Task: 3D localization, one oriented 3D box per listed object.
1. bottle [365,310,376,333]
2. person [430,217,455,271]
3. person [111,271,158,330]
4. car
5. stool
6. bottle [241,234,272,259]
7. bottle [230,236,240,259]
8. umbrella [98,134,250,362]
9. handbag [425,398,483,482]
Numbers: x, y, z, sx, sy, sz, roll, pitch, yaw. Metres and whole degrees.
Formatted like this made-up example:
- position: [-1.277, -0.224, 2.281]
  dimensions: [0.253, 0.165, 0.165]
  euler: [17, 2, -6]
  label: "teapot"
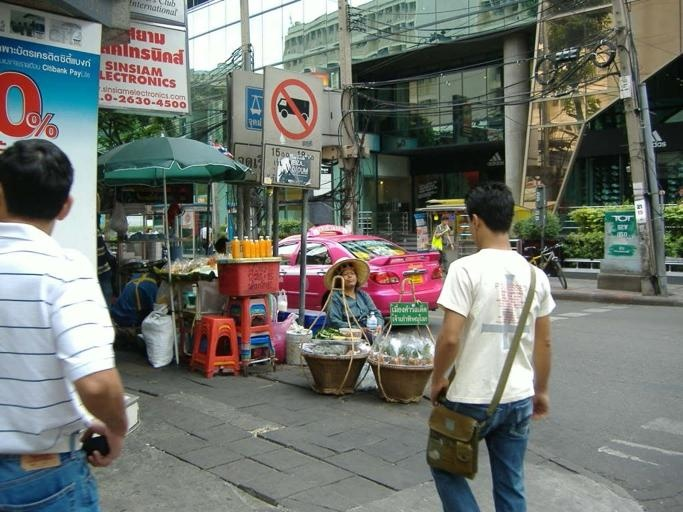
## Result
- position: [0.406, 0.835, 8.024]
  dimensions: [0.178, 0.307, 0.180]
  euler: [-1, -1, 0]
  label: "bottle"
- position: [3.448, -0.364, 21.261]
  dimensions: [0.879, 1.978, 0.893]
  euler: [-2, 0, -18]
  label: "person"
- position: [-3.091, 0.659, 9.539]
  dimensions: [0.663, 0.924, 0.315]
  euler: [28, 18, 21]
  label: "person"
- position: [0.110, 0.127, 11.717]
  dimensions: [1.382, 1.325, 3.311]
  euler: [-1, 5, -44]
  label: "car"
- position: [-1.461, 0.945, 8.486]
  dimensions: [1.032, 1.038, 0.980]
  euler: [1, 3, -32]
  label: "stool"
- position: [-1.095, -0.116, 8.185]
  dimensions: [0.501, 0.247, 0.267]
  euler: [-3, 7, -40]
  label: "bottle"
- position: [-1.320, -0.107, 7.963]
  dimensions: [0.113, 0.242, 0.347]
  euler: [1, 5, -6]
  label: "bottle"
- position: [-2.453, -0.709, 8.868]
  dimensions: [1.262, 1.829, 1.213]
  euler: [7, 7, 35]
  label: "umbrella"
- position: [0.640, 1.060, 3.638]
  dimensions: [0.324, 0.365, 0.151]
  euler: [9, 13, 43]
  label: "handbag"
